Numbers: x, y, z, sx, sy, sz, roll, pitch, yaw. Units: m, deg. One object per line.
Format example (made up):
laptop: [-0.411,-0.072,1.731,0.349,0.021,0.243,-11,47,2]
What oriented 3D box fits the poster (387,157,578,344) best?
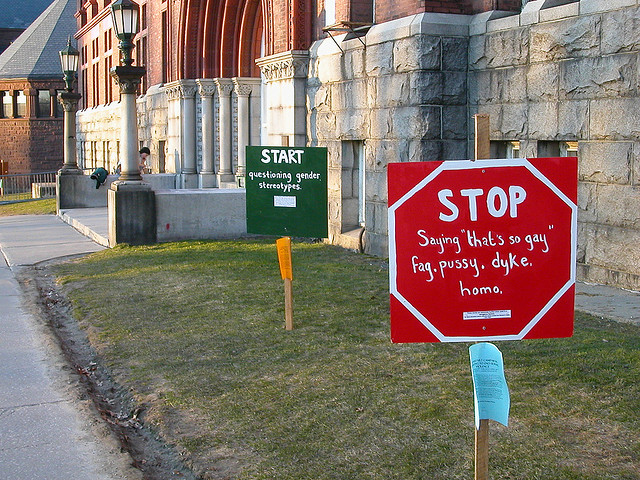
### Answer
poster: [1.233,0.079,6.353,1.405,1.479,0.063,-3,17,4]

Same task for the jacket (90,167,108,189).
jacket: [-6.476,-1.762,24.420,0.466,0.618,0.671,-5,12,-15]

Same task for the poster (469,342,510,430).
poster: [1.241,1.056,6.162,0.258,0.590,0.361,-1,11,6]
